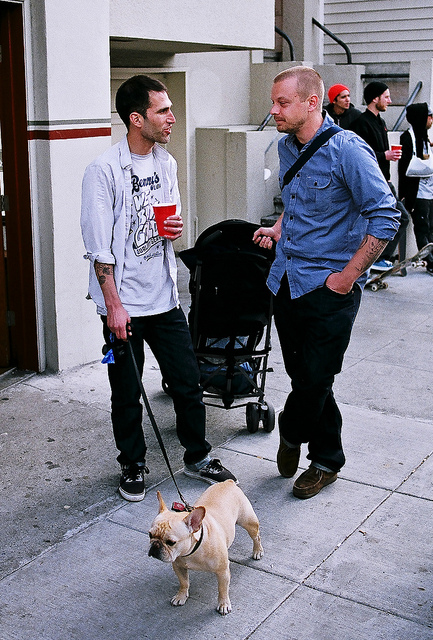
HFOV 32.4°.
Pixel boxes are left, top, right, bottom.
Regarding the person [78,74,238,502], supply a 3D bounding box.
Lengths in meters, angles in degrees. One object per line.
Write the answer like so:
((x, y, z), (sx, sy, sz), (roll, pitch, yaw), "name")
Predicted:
((-0.308, -0.125, 3.626), (0.603, 2.040, 0.359), (-9, 15, -35), "person")

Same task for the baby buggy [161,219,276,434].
((0.076, 0.072, 4.383), (0.541, 1.318, 0.530), (1, 12, 5), "baby buggy")

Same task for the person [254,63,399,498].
((0.533, -0.125, 3.509), (0.683, 2.065, 0.414), (6, 14, 27), "person")

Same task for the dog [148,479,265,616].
((-0.026, 0.804, 2.790), (0.214, 0.471, 0.678), (3, 14, 27), "dog")

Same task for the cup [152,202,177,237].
((-0.233, -0.451, 3.383), (0.099, 0.156, 0.103), (0, 12, 0), "cup")

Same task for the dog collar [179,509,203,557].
((-0.075, 0.753, 2.566), (0.062, 0.090, 0.021), (11, 9, 39), "dog collar")
